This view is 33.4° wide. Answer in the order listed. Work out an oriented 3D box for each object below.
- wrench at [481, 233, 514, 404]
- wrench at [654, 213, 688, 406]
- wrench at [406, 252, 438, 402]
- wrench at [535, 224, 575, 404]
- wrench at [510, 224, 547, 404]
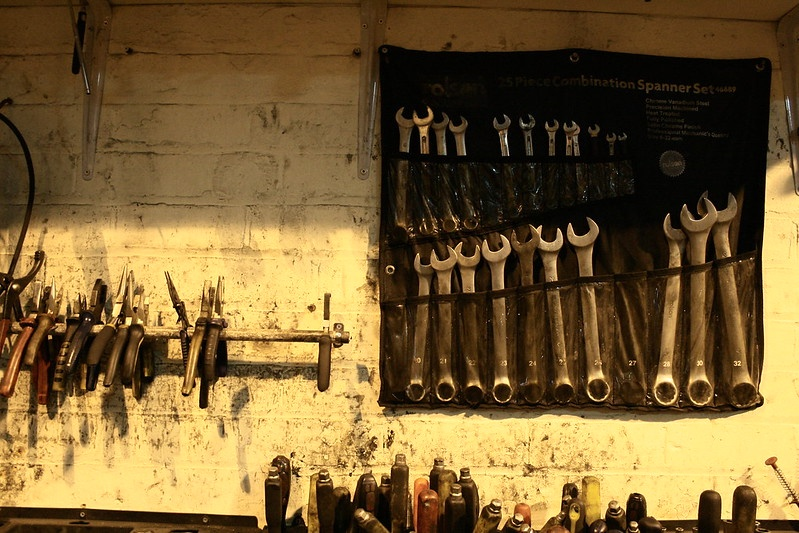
[{"bbox_3d":[0.445,0.242,5.908,0.116,0.755,0.074,-1,-1,4],"label":"wrench"},{"bbox_3d":[1.209,0.207,5.864,0.121,0.826,0.079,3,1,10],"label":"wrench"},{"bbox_3d":[0.090,0.287,5.827,0.104,0.684,0.069,3,-5,5],"label":"wrench"},{"bbox_3d":[0.690,0.223,5.863,0.191,0.780,0.085,8,-11,-40],"label":"wrench"},{"bbox_3d":[0.581,0.218,5.909,0.124,0.806,0.081,-2,0,3],"label":"wrench"}]
